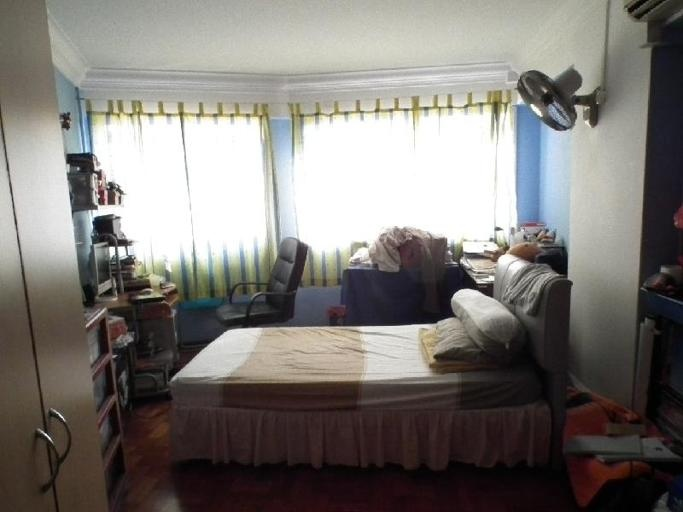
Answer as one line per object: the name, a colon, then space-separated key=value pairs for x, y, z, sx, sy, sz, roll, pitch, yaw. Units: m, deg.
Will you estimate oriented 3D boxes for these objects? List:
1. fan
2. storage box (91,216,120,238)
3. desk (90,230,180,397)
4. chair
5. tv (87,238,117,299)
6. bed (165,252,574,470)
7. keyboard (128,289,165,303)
fan: x=1.481 y=-1.045 z=3.640 sx=0.479 sy=0.452 sz=0.440 roll=-9 pitch=-3 yaw=2
storage box: x=-1.908 y=-0.257 z=4.447 sx=0.172 sy=0.194 sz=0.186 roll=0 pitch=8 yaw=6
desk: x=-1.575 y=0.444 z=4.137 sx=0.437 sy=1.052 sz=1.035 roll=-2 pitch=14 yaw=-11
chair: x=-0.703 y=0.275 z=4.724 sx=0.718 sy=0.864 sz=0.597 roll=0 pitch=6 yaw=-36
tv: x=-1.855 y=0.105 z=4.235 sx=0.138 sy=0.415 sz=0.398 roll=-2 pitch=8 yaw=-8
bed: x=0.162 y=0.705 z=3.481 sx=2.333 sy=1.166 sz=0.653 roll=-4 pitch=7 yaw=4
keyboard: x=-1.539 y=0.314 z=4.323 sx=0.253 sy=0.056 sz=0.369 roll=-8 pitch=8 yaw=-22
